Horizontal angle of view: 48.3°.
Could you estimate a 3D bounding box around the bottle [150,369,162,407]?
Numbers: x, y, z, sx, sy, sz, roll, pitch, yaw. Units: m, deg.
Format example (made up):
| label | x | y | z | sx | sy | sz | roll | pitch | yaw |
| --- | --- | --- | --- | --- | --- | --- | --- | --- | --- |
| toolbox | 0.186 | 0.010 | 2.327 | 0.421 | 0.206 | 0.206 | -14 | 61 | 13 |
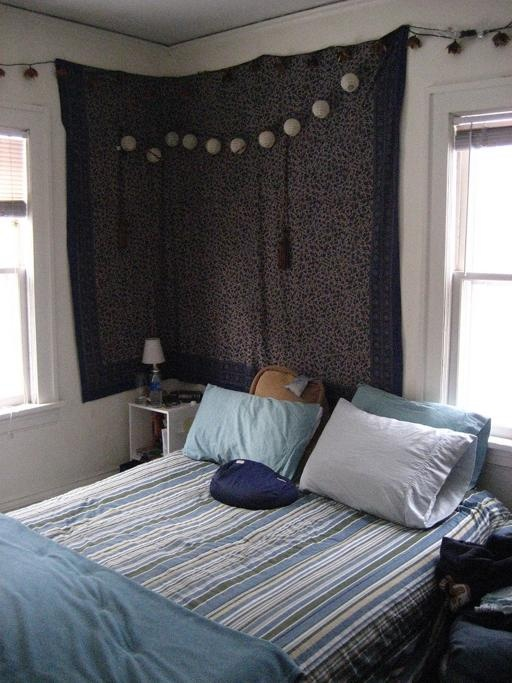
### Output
| label | x | y | z | sx | sy | sz | roll | pitch | yaw |
| --- | --- | --- | --- | --- | --- | --- | --- | --- | --- |
| bottle | -0.594 | 0.258 | 3.388 | 0.071 | 0.217 | 0.160 | 1 | 4 | -10 |
